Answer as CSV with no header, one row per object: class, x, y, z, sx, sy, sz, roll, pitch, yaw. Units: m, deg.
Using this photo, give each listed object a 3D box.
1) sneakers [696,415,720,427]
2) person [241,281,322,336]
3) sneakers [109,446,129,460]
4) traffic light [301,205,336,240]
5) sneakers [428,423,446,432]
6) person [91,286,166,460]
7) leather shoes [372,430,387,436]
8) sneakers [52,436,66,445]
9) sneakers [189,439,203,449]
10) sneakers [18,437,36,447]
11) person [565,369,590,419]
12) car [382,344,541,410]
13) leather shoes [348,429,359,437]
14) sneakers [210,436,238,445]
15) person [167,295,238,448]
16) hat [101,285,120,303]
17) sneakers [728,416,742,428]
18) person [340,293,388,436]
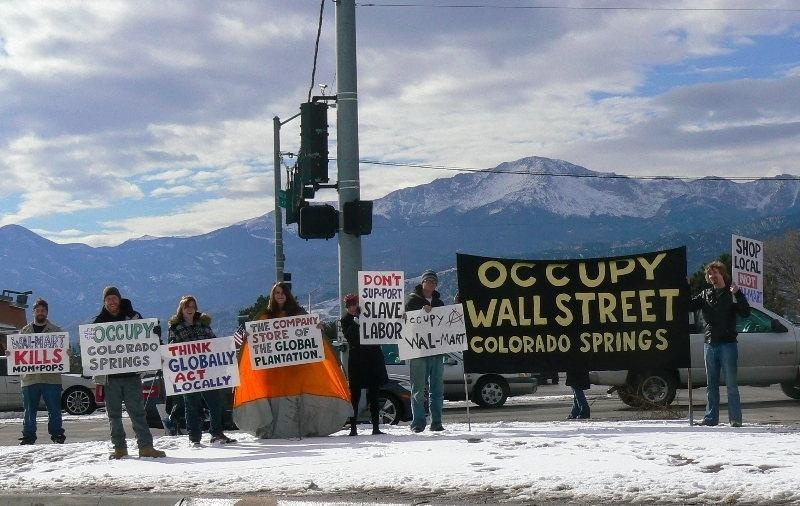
sneakers,5.548,3.065,16.785,0.505,0.182,0.169,-4,-6,30
person,-2.216,0.998,17.481,1.411,0.800,0.560,-3,1,16
sneakers,-4.805,3.412,15.690,0.271,0.244,0.157,8,-8,9
traffic light,-1.639,-0.684,18.294,0.833,0.721,0.516,-6,-7,-2
sneakers,0.670,3.230,17.068,0.173,0.155,0.378,2,-11,-6
person,-4.831,2.058,16.204,0.938,3.033,1.372,-4,-7,-18
leather shoes,-0.387,3.271,16.920,0.241,0.108,0.332,-6,-6,-1
sneakers,-6.657,3.641,17.987,0.197,0.213,0.246,8,-23,-22
sneakers,-3.623,3.391,16.361,0.177,0.074,0.106,15,-4,8
sneakers,-7.301,3.670,17.951,0.367,0.133,0.106,1,-5,-16
person,3.517,2.787,18.295,0.473,1.042,1.799,-7,-7,9
car,1.708,3.251,23.495,3.983,1.506,1.740,-2,-3,-5
leather shoes,-0.862,3.265,16.882,0.161,0.134,0.435,-5,-6,-4
sneakers,-3.181,3.366,16.600,0.505,0.196,0.164,-2,-4,4
person,-3.738,2.124,16.997,0.949,2.759,1.501,-5,-7,-12
hat,-5.066,0.720,16.241,0.300,0.299,0.380,1,-15,-12
sneakers,6.020,3.050,16.565,0.227,0.199,0.142,-1,0,10
person,-0.677,2.050,17.110,0.777,2.600,0.433,-6,-7,-3
